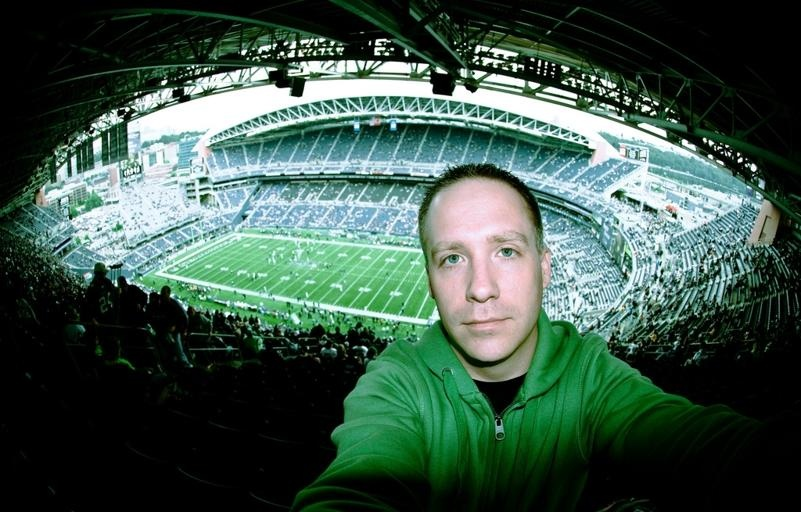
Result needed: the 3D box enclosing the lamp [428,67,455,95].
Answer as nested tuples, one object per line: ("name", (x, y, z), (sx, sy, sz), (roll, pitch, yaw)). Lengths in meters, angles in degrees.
("lamp", (1.735, -6.977, 22.275), (1.161, 0.984, 0.268), (5, 15, 5))
